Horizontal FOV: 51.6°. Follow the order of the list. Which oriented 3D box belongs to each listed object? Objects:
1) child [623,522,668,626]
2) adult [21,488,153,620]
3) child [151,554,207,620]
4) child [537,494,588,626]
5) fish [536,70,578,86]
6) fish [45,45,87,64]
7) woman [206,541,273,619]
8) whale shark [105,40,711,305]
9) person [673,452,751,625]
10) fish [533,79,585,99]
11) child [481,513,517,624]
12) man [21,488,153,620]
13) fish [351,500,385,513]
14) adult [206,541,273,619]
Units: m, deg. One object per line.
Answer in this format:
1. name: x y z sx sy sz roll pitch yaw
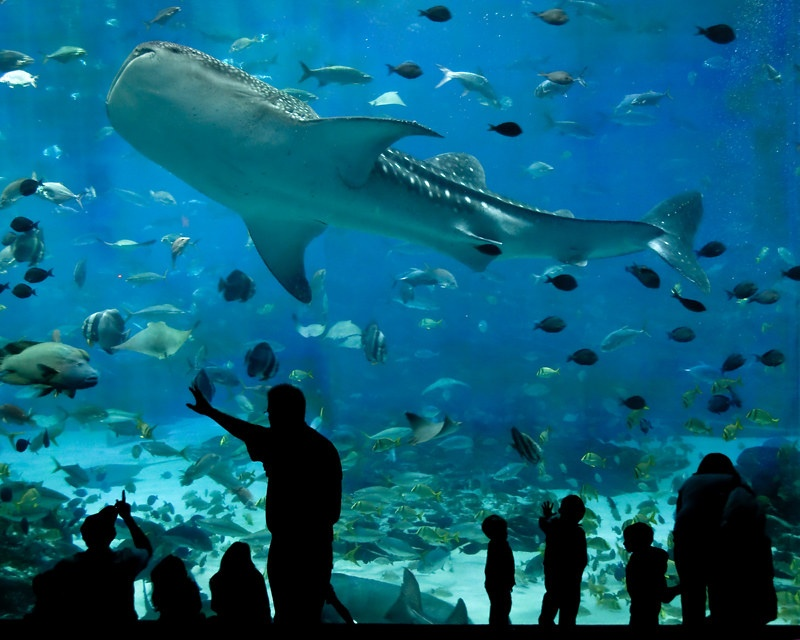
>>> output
1. child: 5.871 6.072 19.575 0.961 2.596 1.050 -1 -19 14
2. adult: -7.155 5.660 19.447 2.385 2.957 1.084 7 -19 -14
3. child: -5.213 6.265 19.409 1.295 1.549 0.615 5 -18 -9
4. child: 3.896 5.733 19.656 1.090 3.154 1.187 1 -19 8
5. fish: 4.762 -7.128 24.336 1.373 0.272 0.514 3 -9 -24
6. fish: -9.867 -7.882 24.528 1.100 0.596 0.460 -7 -19 34
7. woman: -3.769 6.219 19.385 2.008 1.626 0.636 -7 7 5
8. whale shark: 1.428 -3.782 23.210 18.224 2.989 5.181 12 -27 -22
9. person: 7.245 5.238 19.751 1.309 4.141 1.396 9 -19 -15
10. fish: 4.951 -6.930 24.729 1.976 0.526 0.633 0 -50 15
11. child: 2.340 5.922 19.570 0.746 2.639 1.059 2 -18 7
12. man: -7.157 5.660 19.447 2.389 2.957 1.084 7 -19 -14
13. fish: -0.895 5.206 23.231 0.877 0.328 0.363 3 -15 -8
14. adult: -3.790 6.211 19.386 2.008 1.626 0.636 -7 7 5
